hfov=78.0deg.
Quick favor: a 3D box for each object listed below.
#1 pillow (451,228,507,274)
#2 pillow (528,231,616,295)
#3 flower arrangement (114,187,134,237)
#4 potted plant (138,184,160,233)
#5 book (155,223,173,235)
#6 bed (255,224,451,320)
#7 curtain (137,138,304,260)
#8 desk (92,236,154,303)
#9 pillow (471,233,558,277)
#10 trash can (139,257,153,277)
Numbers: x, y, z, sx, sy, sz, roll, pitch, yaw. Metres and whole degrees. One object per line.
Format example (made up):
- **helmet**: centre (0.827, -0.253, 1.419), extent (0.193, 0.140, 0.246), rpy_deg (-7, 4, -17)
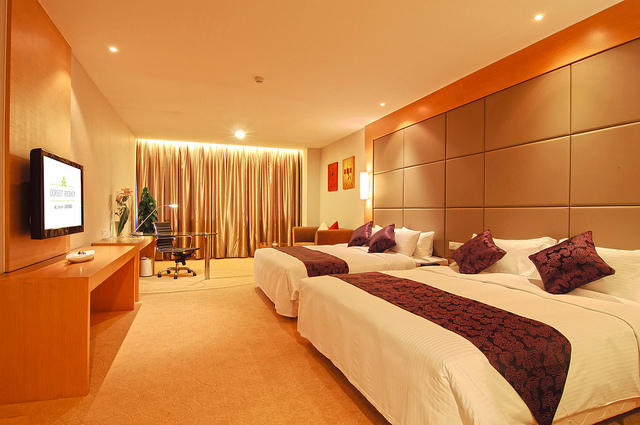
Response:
- **pillow**: centre (1.795, 0.472, 4.451), extent (0.142, 0.469, 0.464), rpy_deg (32, 30, -25)
- **pillow**: centre (2.449, 0.505, 3.929), extent (0.742, 0.225, 0.787), rpy_deg (-35, 16, 17)
- **flower arrangement**: centre (-3.343, 0.025, 6.721), extent (0.278, 0.936, 1.446), rpy_deg (-5, 14, -24)
- **potted plant**: centre (-3.385, -0.114, 7.804), extent (0.373, 0.820, 1.699), rpy_deg (-5, 14, -23)
- **book**: centre (-2.768, 0.269, 6.957), extent (0.261, 0.180, 0.343), rpy_deg (-5, 14, -27)
- **bed**: centre (0.326, 0.638, 5.365), extent (1.594, 0.824, 1.619), rpy_deg (2, -4, -12)
- **curtain**: centre (-2.269, -0.490, 8.975), extent (3.549, 2.579, 0.705), rpy_deg (8, 2, -25)
- **desk**: centre (-2.677, 0.774, 5.620), extent (0.603, 0.760, 1.057), rpy_deg (3, 2, -16)
- **pillow**: centre (2.111, 0.460, 4.315), extent (0.454, 0.400, 0.755), rpy_deg (3, 1, -18)
- **trash can**: centre (-2.894, 0.947, 6.762), extent (0.178, 0.324, 0.312), rpy_deg (4, 3, 16)
